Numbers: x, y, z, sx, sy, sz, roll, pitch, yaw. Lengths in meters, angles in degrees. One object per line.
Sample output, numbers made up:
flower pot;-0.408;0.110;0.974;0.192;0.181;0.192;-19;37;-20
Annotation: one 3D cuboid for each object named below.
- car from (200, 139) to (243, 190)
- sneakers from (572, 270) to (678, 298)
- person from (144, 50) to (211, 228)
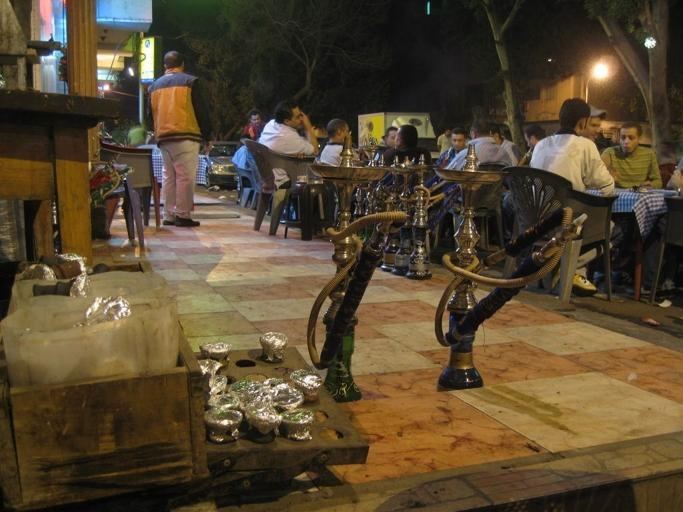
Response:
car;-4.030;-3.290;19.468;1.661;1.251;3.183;-2;21;-24
sneakers;2.753;0.281;5.536;0.600;0.230;0.188;-2;31;4
person;-2.380;-1.732;8.508;0.865;2.635;0.762;-1;9;-18
